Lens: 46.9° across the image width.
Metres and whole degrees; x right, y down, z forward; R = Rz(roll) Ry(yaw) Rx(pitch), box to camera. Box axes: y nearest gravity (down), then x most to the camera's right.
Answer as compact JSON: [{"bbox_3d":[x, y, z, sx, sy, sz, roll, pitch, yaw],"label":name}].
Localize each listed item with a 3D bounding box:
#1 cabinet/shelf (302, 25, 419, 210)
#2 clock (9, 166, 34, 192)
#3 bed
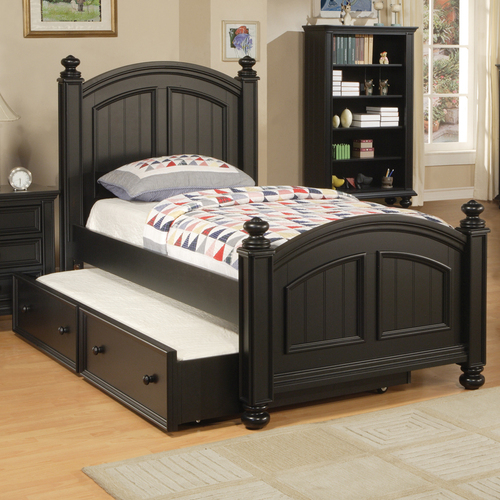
[{"bbox_3d":[1.160,-1.317,5.805,1.239,1.591,0.539,8,10,21],"label":"cabinet/shelf"},{"bbox_3d":[-1.314,-0.398,3.264,0.179,0.136,0.042,7,3,-27],"label":"clock"},{"bbox_3d":[-0.028,-0.249,2.602,1.198,0.952,1.697,-10,28,-30],"label":"bed"}]
